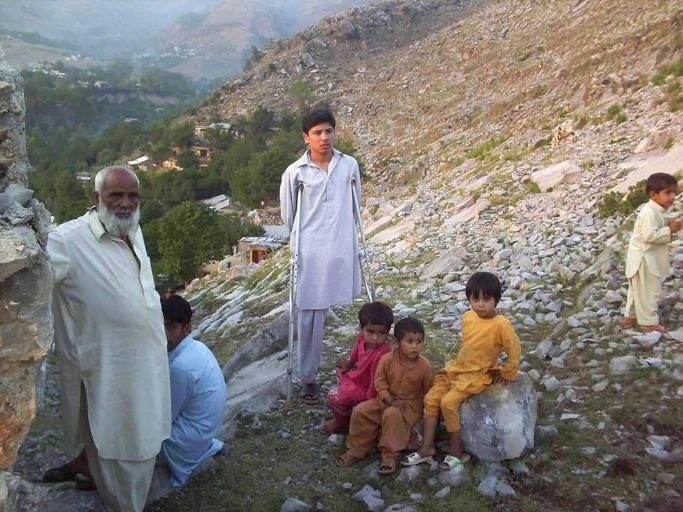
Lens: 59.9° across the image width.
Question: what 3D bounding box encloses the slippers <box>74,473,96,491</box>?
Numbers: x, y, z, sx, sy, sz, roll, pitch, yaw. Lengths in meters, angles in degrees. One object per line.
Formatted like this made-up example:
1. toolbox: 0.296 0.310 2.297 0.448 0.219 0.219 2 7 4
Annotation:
1. slippers: -2.186 1.921 5.035 0.135 0.055 0.138 2 33 -16

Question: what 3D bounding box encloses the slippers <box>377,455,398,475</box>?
1. slippers: 0.392 1.743 4.928 0.183 0.151 0.102 -5 12 -18

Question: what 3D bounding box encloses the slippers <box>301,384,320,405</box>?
1. slippers: -0.318 1.389 5.986 0.136 0.098 0.232 2 16 0

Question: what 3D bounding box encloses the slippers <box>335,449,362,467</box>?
1. slippers: 0.051 1.764 5.166 0.218 0.091 0.104 8 6 -20

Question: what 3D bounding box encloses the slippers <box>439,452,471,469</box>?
1. slippers: 0.917 1.679 4.846 0.235 0.064 0.105 -8 2 -34

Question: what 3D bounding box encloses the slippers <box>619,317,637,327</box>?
1. slippers: 2.870 0.657 5.961 0.052 0.108 0.158 -6 13 -33

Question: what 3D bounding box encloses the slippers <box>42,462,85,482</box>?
1. slippers: -2.390 1.867 5.072 0.263 0.093 0.171 -4 6 -33

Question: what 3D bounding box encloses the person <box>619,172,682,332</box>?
1. person: 3.075 -0.061 5.878 0.437 1.500 0.670 5 13 25

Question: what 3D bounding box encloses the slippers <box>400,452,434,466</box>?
1. slippers: 0.638 1.661 4.926 0.230 0.076 0.118 -2 5 -8

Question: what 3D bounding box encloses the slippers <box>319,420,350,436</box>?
1. slippers: -0.071 1.598 5.559 0.248 0.105 0.117 5 7 3

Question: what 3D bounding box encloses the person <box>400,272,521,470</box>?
1. person: 1.012 0.916 4.935 0.916 1.580 0.479 -5 12 -17
